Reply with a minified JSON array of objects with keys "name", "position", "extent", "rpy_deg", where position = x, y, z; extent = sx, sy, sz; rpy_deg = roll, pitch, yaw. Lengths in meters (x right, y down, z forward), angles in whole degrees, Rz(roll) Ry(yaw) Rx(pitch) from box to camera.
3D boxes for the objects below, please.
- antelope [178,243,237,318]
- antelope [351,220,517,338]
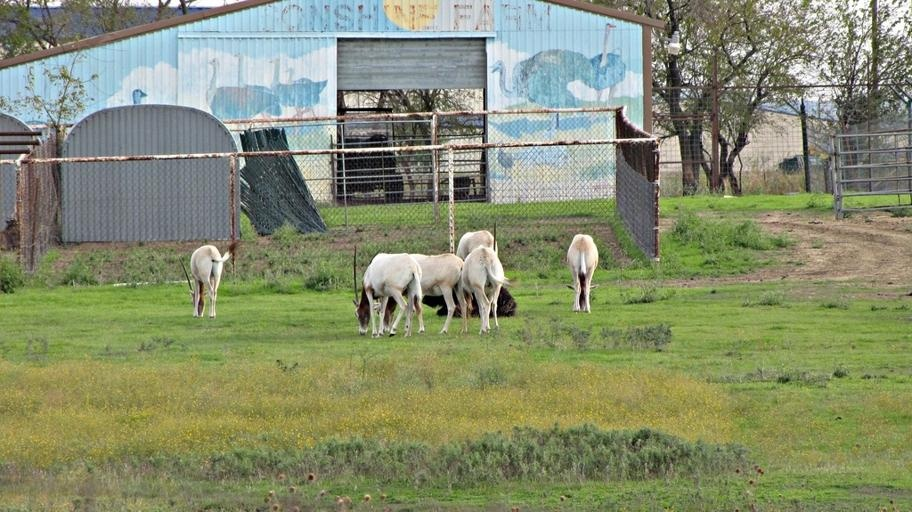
[{"name":"antelope","position":[-8.799,0.638,68.602],"extent":[1.556,2.604,2.996],"rpy_deg":[-2,2,-3]},{"name":"antelope","position":[-1.140,0.705,67.244],"extent":[5.020,3.381,3.872],"rpy_deg":[-2,2,-4]}]
